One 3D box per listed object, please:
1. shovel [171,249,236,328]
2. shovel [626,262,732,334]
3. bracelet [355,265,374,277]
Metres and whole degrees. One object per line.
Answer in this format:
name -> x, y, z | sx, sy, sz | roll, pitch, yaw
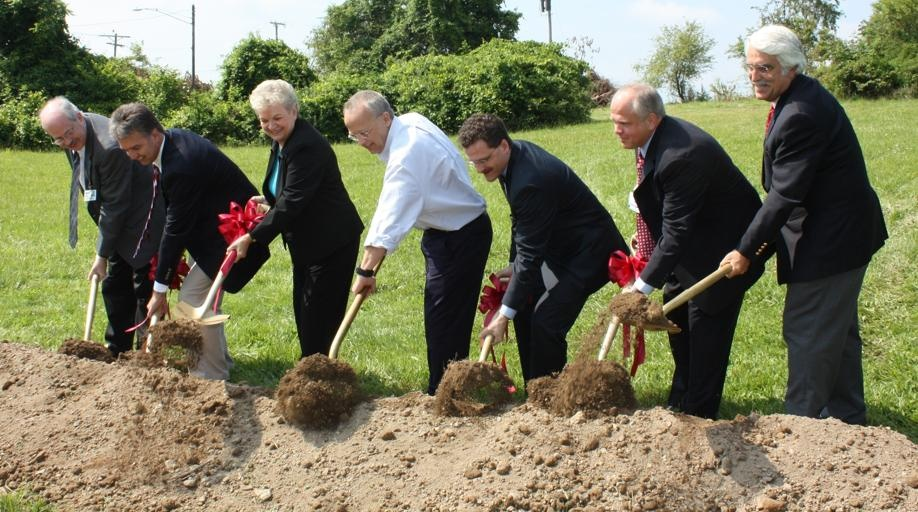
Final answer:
shovel -> -3.719, 0.465, 14.725 | 0.826, 1.398, 0.332 | 17, -26, 8
shovel -> 3.141, 0.544, 13.725 | 1.458, 0.936, 0.557 | 0, 9, -18
bracelet -> -1.353, 0.237, 13.955 | 0.170, 0.067, 0.146 | 12, 6, -38
